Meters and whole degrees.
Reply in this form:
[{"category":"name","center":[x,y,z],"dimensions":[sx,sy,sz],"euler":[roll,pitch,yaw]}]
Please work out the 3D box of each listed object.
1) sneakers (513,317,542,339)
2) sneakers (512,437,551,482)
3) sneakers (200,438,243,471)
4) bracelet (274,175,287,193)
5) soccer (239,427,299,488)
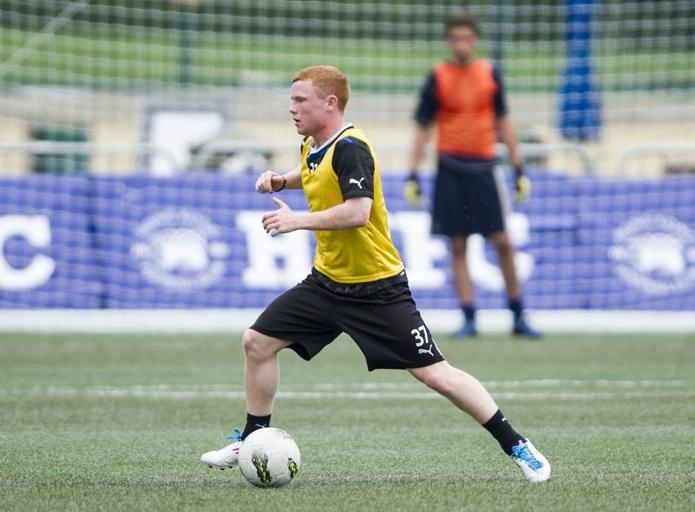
[{"category":"sneakers","center":[1.987,0.805,14.134],"dimensions":[0.468,0.263,0.144],"euler":[1,14,0]},{"category":"sneakers","center":[1.416,1.594,10.058],"dimensions":[0.210,0.387,0.166],"euler":[-42,-9,4]},{"category":"sneakers","center":[-0.975,1.566,10.099],"dimensions":[0.446,0.185,0.145],"euler":[1,2,-3]},{"category":"bracelet","center":[-0.557,-0.566,10.345],"dimensions":[0.053,0.121,0.092],"euler":[12,43,-12]},{"category":"soccer","center":[-0.675,1.643,10.078],"dimensions":[0.481,0.406,0.438],"euler":[5,-13,-17]}]
